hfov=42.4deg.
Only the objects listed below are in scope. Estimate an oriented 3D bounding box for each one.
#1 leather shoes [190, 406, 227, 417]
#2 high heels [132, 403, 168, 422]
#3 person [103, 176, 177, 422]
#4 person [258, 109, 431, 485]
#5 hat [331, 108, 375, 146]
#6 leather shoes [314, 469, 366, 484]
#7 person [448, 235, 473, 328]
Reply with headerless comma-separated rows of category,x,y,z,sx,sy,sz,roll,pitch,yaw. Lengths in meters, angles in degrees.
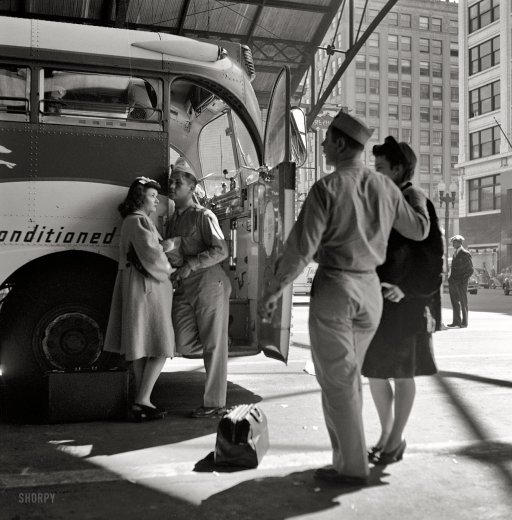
leather shoes,-0.435,1.368,5.970,0.303,0.150,0.116,7,-8,-17
high heels,-0.938,1.338,5.841,0.325,0.139,0.117,0,2,-44
person,-1.037,0.343,5.782,0.602,1.637,0.401,-1,1,0
person,0.550,0.229,4.184,0.985,2.334,0.405,-1,1,-28
hat,0.602,-0.809,4.232,0.259,0.143,0.200,30,20,-4
leather shoes,0.523,1.343,4.134,0.302,0.097,0.113,3,-3,20
person,4.428,0.469,14.414,0.497,1.991,1.216,-1,1,18
